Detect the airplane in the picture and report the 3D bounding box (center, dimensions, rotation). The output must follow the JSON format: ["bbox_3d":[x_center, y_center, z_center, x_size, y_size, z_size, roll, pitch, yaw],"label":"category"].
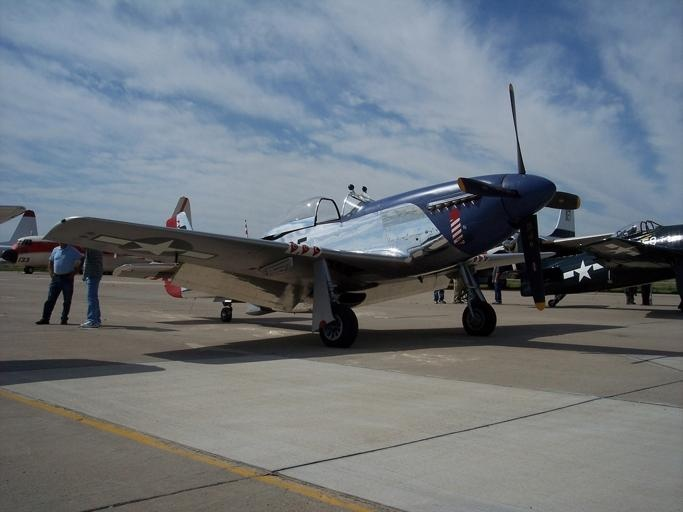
[{"bbox_3d":[0.120,-0.195,7.058,6.713,3.186,3.070,1,-4,-9],"label":"airplane"}]

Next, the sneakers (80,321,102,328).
[{"bbox_3d":[-4.862,1.306,8.351,0.452,0.120,0.123,5,-3,-11],"label":"sneakers"}]
